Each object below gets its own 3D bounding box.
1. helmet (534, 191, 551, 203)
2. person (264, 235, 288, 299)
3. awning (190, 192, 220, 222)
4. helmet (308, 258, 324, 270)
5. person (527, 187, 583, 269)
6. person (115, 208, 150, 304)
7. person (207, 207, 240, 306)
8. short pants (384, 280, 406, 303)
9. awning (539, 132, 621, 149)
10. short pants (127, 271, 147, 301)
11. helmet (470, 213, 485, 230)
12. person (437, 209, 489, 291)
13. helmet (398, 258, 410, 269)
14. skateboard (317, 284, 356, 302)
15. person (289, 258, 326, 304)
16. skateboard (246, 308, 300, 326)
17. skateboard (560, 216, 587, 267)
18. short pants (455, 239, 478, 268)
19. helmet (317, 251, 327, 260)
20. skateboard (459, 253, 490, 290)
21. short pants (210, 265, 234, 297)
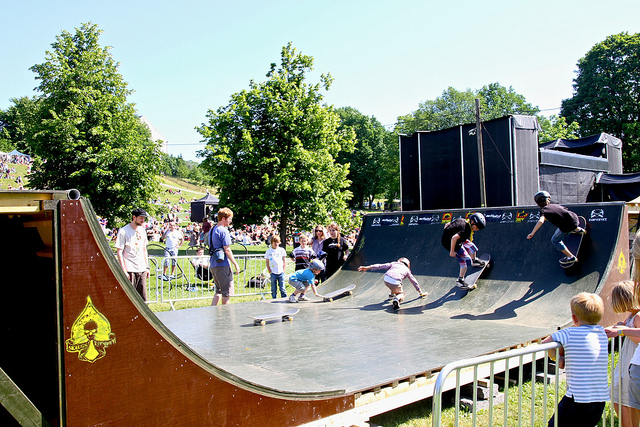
[{"bbox_3d":[4.567,-0.311,12.877,0.255,0.220,0.271,2,8,15],"label":"helmet"},{"bbox_3d":[-1.058,1.340,15.024,0.486,1.603,0.900,-1,8,-5],"label":"person"},{"bbox_3d":[-5.852,-0.312,33.139,1.746,1.811,1.742,3,-4,-28],"label":"awning"},{"bbox_3d":[-0.093,1.240,14.737,0.223,0.292,0.220,-30,-17,-39],"label":"helmet"},{"bbox_3d":[4.917,0.319,13.047,1.031,1.514,1.152,3,8,19],"label":"person"},{"bbox_3d":[-3.791,0.885,12.740,0.624,1.992,0.824,7,11,42],"label":"person"},{"bbox_3d":[-2.053,0.984,13.151,0.621,2.239,1.058,-2,8,-10],"label":"person"},{"bbox_3d":[1.662,1.696,13.667,0.312,0.518,0.792,3,8,23],"label":"short pants"},{"bbox_3d":[12.217,-3.311,29.033,1.880,0.584,1.851,-5,-4,-38],"label":"awning"},{"bbox_3d":[-3.752,1.513,13.004,0.282,0.675,0.648,0,8,2],"label":"short pants"},{"bbox_3d":[3.403,0.147,13.502,0.313,0.340,0.257,-42,0,17],"label":"helmet"},{"bbox_3d":[3.163,0.798,13.849,1.031,1.656,1.408,2,8,13],"label":"person"},{"bbox_3d":[1.834,1.096,13.673,0.235,0.081,0.181,41,-5,13],"label":"helmet"},{"bbox_3d":[0.399,1.847,14.393,1.033,0.153,0.270,-18,23,-31],"label":"skateboard"},{"bbox_3d":[-0.289,1.571,14.769,0.721,0.935,1.853,1,8,6],"label":"person"},{"bbox_3d":[-0.866,2.039,12.260,1.272,0.225,0.324,-1,3,-37],"label":"skateboard"},{"bbox_3d":[5.191,0.595,12.789,0.335,1.308,0.194,10,-14,42],"label":"skateboard"},{"bbox_3d":[3.145,0.939,13.558,0.250,0.658,0.708,4,9,30],"label":"short pants"},{"bbox_3d":[0.021,1.105,16.140,0.225,0.325,0.177,5,4,13],"label":"helmet"},{"bbox_3d":[3.437,1.248,13.614,0.329,0.195,1.328,8,41,41],"label":"skateboard"},{"bbox_3d":[-2.022,1.373,13.142,0.404,0.786,0.526,-4,4,-29],"label":"short pants"}]
